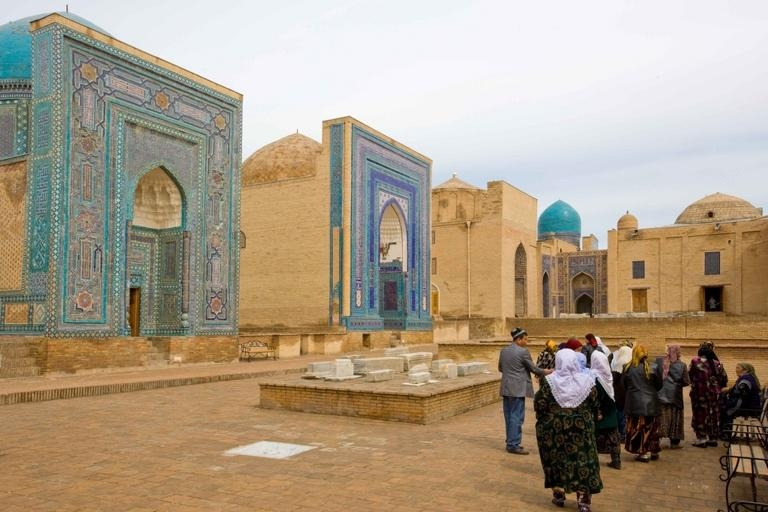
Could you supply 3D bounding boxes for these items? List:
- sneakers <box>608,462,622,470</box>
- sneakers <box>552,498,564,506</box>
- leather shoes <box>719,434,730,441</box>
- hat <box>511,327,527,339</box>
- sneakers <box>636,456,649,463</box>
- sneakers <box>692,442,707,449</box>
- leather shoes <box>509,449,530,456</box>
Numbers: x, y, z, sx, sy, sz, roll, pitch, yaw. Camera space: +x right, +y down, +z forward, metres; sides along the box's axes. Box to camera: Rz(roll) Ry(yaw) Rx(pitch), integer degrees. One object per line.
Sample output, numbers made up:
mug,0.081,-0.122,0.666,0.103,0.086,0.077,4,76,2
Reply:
sneakers,2.869,2.604,8.264,0.067,0.069,0.183,2,-1,-25
sneakers,1.890,2.666,7.231,0.136,0.086,0.101,-2,-6,11
leather shoes,4.768,2.511,9.327,0.122,0.145,0.055,-12,11,2
hat,1.780,1.080,9.169,0.282,0.097,0.223,-18,-5,23
sneakers,3.307,2.594,8.515,0.069,0.066,0.162,1,3,2
sneakers,4.381,2.622,9.236,0.205,0.070,0.063,2,-2,40
leather shoes,1.756,2.538,8.640,0.258,0.090,0.089,-4,-4,16
